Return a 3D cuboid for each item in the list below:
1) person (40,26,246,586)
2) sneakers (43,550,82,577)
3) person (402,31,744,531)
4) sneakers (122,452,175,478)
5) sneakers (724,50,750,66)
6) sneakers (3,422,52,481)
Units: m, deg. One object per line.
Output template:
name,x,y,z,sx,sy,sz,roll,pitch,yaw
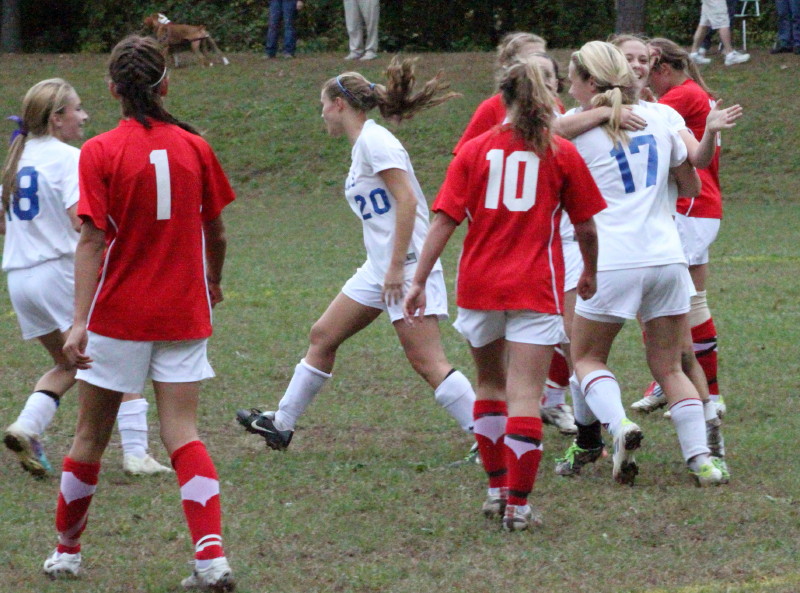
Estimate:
person,-1.470,0.068,6.801,1.028,3.131,0.755,0,8,-4
sneakers,-1.951,1.547,6.824,0.203,0.137,0.125,10,7,-3
person,0.675,-0.026,7.289,1.122,2.885,0.448,1,8,8
sneakers,-1.684,1.131,8.001,0.369,0.162,0.133,4,1,-9
sneakers,5.700,-4.039,19.864,0.663,0.281,0.236,-13,21,-40
sneakers,-2.472,1.027,7.805,0.124,0.348,0.177,-31,9,34
